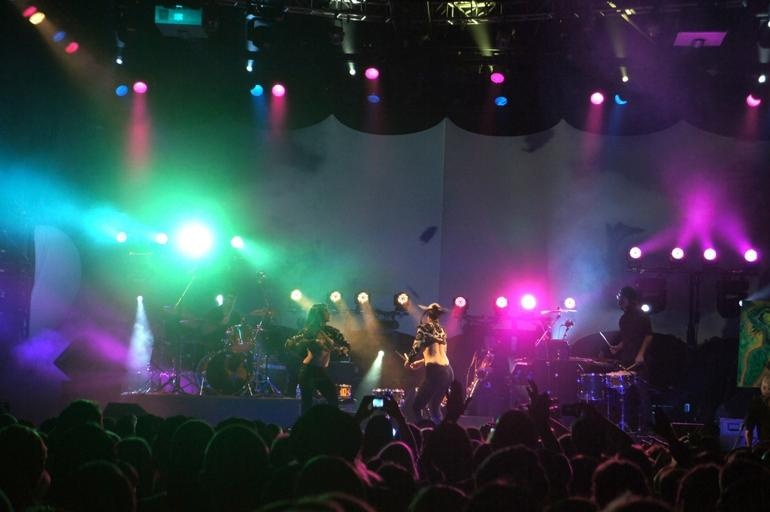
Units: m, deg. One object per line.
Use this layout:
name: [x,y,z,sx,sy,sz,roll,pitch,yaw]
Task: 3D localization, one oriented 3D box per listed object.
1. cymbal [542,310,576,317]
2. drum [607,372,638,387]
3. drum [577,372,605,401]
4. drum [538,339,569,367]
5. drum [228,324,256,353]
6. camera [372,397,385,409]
cymbal: [3.838,1.243,15.352,0.419,0.094,0.428,-8,-5,42]
drum: [4.350,2.284,12.980,0.346,0.202,0.354,0,-3,0]
drum: [3.930,2.505,13.343,0.512,0.427,0.496,2,-17,0]
drum: [3.439,1.954,14.291,0.641,0.633,0.539,-4,-28,11]
drum: [-2.854,1.676,14.005,0.540,0.688,0.424,11,-28,-17]
camera: [-0.084,1.893,9.020,0.147,0.170,0.263,-3,-9,11]
